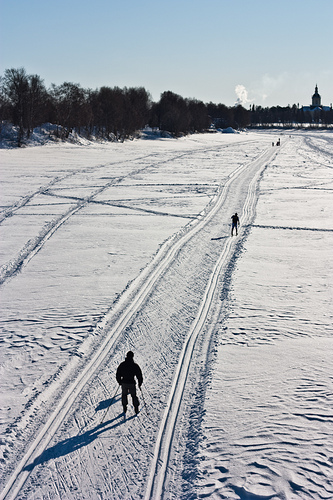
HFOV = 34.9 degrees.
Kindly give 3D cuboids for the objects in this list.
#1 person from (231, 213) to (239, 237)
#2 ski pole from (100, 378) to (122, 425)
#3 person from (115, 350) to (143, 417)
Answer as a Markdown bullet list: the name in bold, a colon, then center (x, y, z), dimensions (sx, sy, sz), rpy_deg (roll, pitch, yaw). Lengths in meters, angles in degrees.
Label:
- **person**: center (3.209, -1.279, 24.829), dimensions (0.325, 0.907, 1.875), rpy_deg (3, 14, 8)
- **ski pole**: center (-1.051, 2.898, 10.036), dimensions (0.034, 0.919, 0.066), rpy_deg (17, 28, -11)
- **person**: center (-0.687, 2.391, 9.754), dimensions (0.444, 1.349, 0.605), rpy_deg (1, 11, -2)
